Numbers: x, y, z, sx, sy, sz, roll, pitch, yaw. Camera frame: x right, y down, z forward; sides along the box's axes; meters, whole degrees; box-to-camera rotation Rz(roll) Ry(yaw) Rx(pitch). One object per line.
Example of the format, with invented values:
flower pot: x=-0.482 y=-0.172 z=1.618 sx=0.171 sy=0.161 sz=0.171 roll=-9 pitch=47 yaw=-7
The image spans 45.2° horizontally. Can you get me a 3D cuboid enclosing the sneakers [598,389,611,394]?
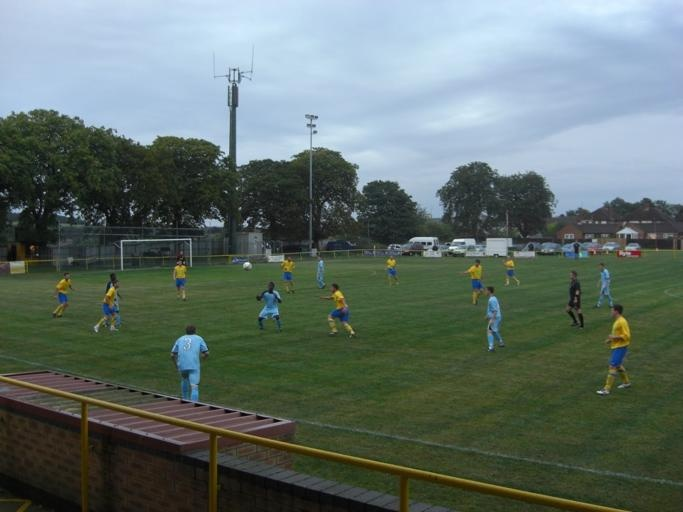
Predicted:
sneakers: x=6.195 y=3.206 z=19.304 sx=0.320 sy=0.135 sz=0.113 roll=0 pitch=-7 yaw=13

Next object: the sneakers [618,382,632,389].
sneakers: x=6.865 y=3.140 z=19.796 sx=0.397 sy=0.155 sz=0.131 roll=-1 pitch=4 yaw=19

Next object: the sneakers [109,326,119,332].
sneakers: x=-7.273 y=2.364 z=26.490 sx=0.323 sy=0.200 sz=0.104 roll=0 pitch=6 yaw=-2

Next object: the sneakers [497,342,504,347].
sneakers: x=4.572 y=2.533 z=23.525 sx=0.187 sy=0.165 sz=0.085 roll=0 pitch=17 yaw=4

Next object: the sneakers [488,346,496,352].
sneakers: x=4.241 y=2.631 z=23.070 sx=0.118 sy=0.145 sz=0.157 roll=0 pitch=-2 yaw=-7
